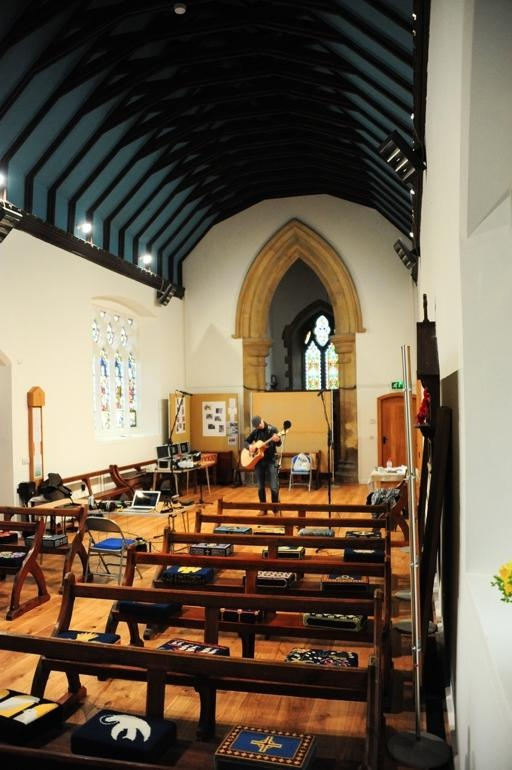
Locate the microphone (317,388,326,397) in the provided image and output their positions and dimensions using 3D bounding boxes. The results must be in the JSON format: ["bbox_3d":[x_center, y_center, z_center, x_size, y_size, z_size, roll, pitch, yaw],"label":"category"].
[{"bbox_3d":[1.316,0.155,12.412,0.095,0.138,0.222,-4,-8,9],"label":"microphone"}]

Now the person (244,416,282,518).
[{"bbox_3d":[0.165,1.002,8.945,0.183,0.510,1.276,-3,-40,-18],"label":"person"}]

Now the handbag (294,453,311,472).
[{"bbox_3d":[0.937,1.573,12.448,0.263,0.274,0.116,-5,-25,30],"label":"handbag"}]

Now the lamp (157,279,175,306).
[{"bbox_3d":[-1.905,-1.938,12.982,0.115,0.450,0.485,15,-27,-2],"label":"lamp"}]

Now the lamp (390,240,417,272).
[{"bbox_3d":[2.800,-2.435,11.618,0.310,0.318,1.069,-34,24,11],"label":"lamp"}]

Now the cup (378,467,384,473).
[{"bbox_3d":[1.944,1.327,9.591,0.062,0.063,0.035,-3,-11,17],"label":"cup"}]

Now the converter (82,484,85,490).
[{"bbox_3d":[-2.730,1.627,9.740,0.022,0.097,0.070,1,-1,16],"label":"converter"}]
